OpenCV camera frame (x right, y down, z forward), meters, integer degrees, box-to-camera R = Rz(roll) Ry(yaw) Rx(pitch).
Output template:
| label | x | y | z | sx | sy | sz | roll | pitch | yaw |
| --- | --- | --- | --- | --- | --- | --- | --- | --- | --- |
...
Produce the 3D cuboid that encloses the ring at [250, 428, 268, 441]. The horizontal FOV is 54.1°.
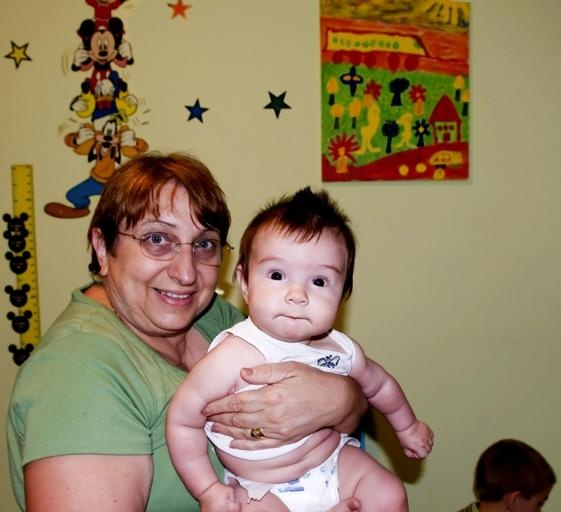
| label | x | y | z | sx | sy | sz | roll | pitch | yaw |
| --- | --- | --- | --- | --- | --- | --- | --- | --- | --- |
| ring | -0.058 | 0.438 | 1.355 | 0.026 | 0.021 | 0.034 | 6 | -1 | -3 |
